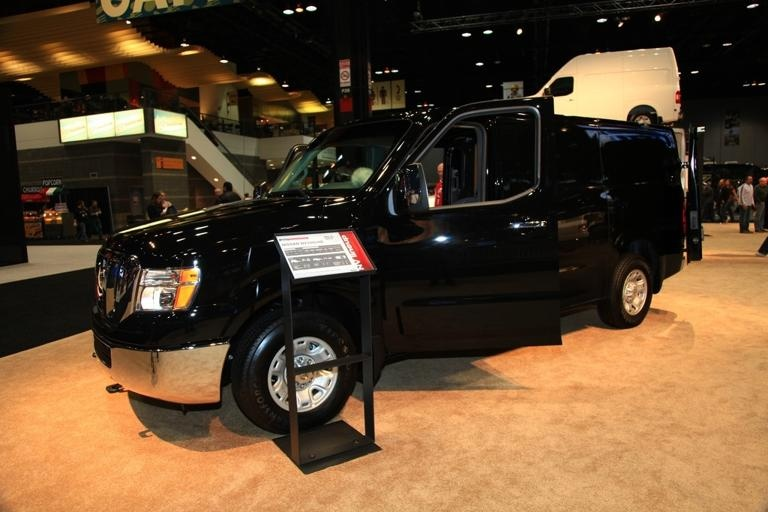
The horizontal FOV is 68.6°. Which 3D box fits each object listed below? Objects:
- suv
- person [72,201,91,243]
[{"bbox_3d":[0.539,-0.033,6.746,6.728,2.628,3.356,-2,2,-32],"label":"suv"},{"bbox_3d":[-13.676,-1.608,25.434,0.521,1.724,0.610,-5,4,9],"label":"person"}]
